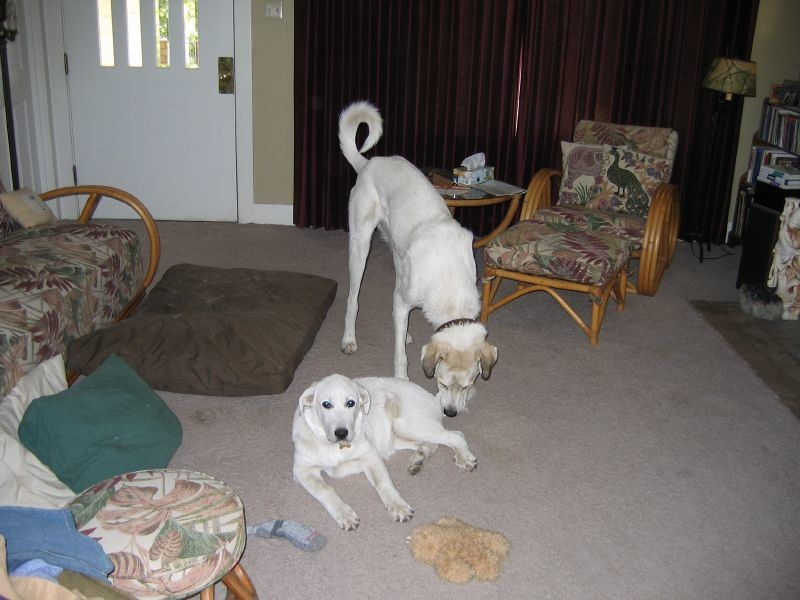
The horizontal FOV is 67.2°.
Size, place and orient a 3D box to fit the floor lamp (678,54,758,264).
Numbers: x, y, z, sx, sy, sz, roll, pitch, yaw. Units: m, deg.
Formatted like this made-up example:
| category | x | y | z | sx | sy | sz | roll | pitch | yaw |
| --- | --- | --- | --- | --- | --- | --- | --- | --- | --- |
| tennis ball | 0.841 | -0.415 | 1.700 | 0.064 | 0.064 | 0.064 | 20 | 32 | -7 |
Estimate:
| category | x | y | z | sx | sy | sz | roll | pitch | yaw |
| --- | --- | --- | --- | --- | --- | --- | --- | --- | --- |
| floor lamp | 2.550 | -1.157 | 4.954 | 0.402 | 1.542 | 0.391 | -9 | 27 | -21 |

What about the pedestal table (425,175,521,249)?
| category | x | y | z | sx | sy | sz | roll | pitch | yaw |
| --- | --- | --- | --- | --- | --- | --- | --- | --- | --- |
| pedestal table | 0.598 | -0.547 | 4.657 | 0.551 | 0.725 | 0.695 | -3 | 20 | -16 |

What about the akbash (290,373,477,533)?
| category | x | y | z | sx | sy | sz | roll | pitch | yaw |
| --- | --- | --- | --- | --- | --- | --- | --- | --- | --- |
| akbash | -0.087 | 0.561 | 2.652 | 0.755 | 0.552 | 0.582 | -21 | 32 | -39 |

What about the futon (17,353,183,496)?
| category | x | y | z | sx | sy | sz | roll | pitch | yaw |
| --- | --- | --- | --- | --- | --- | --- | --- | --- | --- |
| futon | -1.290 | 0.572 | 2.643 | 0.466 | 0.117 | 0.471 | 49 | 36 | 3 |

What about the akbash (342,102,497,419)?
| category | x | y | z | sx | sy | sz | roll | pitch | yaw |
| --- | --- | --- | --- | --- | --- | --- | --- | --- | --- |
| akbash | 0.045 | -0.245 | 3.574 | 0.493 | 1.389 | 1.753 | -10 | 35 | -24 |
